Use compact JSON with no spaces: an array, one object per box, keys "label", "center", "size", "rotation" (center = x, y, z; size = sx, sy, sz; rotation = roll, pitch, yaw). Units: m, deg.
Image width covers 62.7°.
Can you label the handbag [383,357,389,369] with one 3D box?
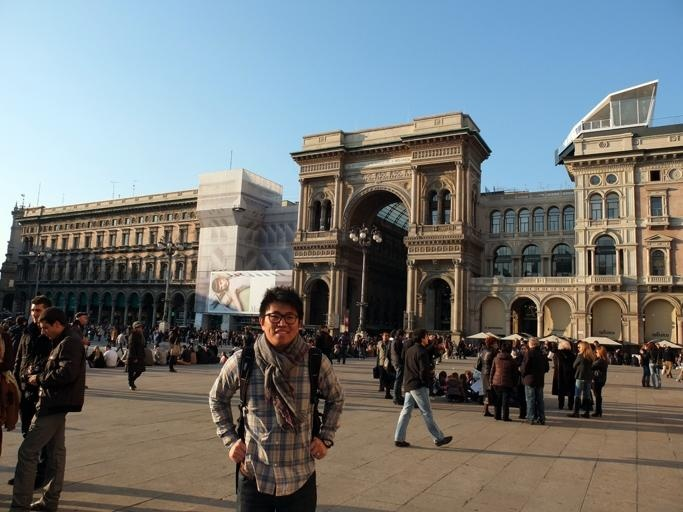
[{"label":"handbag","center":[1.339,3.258,16.946],"size":[0.077,0.208,0.230],"rotation":[6,17,-12]}]

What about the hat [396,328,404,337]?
[{"label":"hat","center":[1.646,2.181,15.858],"size":[0.173,0.217,0.215],"rotation":[1,-7,-1]}]

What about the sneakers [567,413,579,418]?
[{"label":"sneakers","center":[5.919,4.060,14.314],"size":[0.248,0.172,0.096],"rotation":[-4,-12,40]}]

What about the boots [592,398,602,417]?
[{"label":"boots","center":[6.729,3.944,14.734],"size":[0.199,0.469,0.722],"rotation":[-2,-6,24]}]

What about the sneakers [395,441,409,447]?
[{"label":"sneakers","center":[1.084,3.398,10.095],"size":[0.284,0.112,0.095],"rotation":[-2,-10,-4]}]

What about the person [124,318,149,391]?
[{"label":"person","center":[-5.992,2.863,16.243],"size":[0.546,1.867,0.710],"rotation":[-5,-12,3]}]

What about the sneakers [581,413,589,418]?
[{"label":"sneakers","center":[6.263,4.063,14.379],"size":[0.186,0.118,0.398],"rotation":[-2,-6,21]}]
